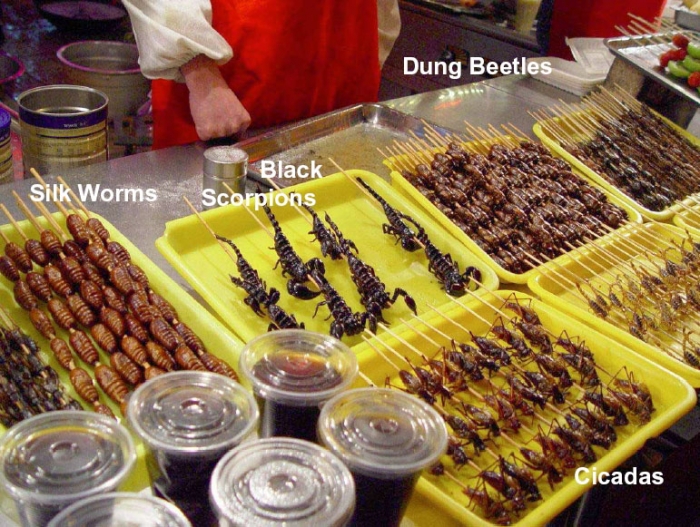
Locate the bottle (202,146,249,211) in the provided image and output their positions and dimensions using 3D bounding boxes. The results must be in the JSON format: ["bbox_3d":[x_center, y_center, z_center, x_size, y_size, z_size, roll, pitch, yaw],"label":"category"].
[{"bbox_3d":[-0.784,-0.469,3.492,0.284,0.329,0.290,-5,33,-27],"label":"bottle"}]

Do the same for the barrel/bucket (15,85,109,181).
[{"bbox_3d":[-1.829,-0.740,3.828,0.512,0.589,0.557,4,29,-2],"label":"barrel/bucket"}]
